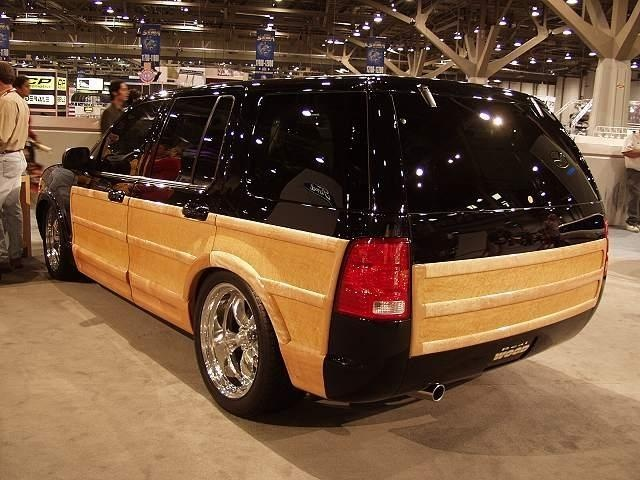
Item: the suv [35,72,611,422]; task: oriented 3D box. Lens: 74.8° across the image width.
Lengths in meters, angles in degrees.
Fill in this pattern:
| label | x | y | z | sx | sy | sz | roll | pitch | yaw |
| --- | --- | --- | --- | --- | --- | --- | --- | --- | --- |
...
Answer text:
| label | x | y | z | sx | sy | sz | roll | pitch | yaw |
| --- | --- | --- | --- | --- | --- | --- | --- | --- | --- |
| suv | -0.519 | -0.206 | 3.524 | 2.100 | 1.494 | 4.194 | -7 | 19 | -41 |
